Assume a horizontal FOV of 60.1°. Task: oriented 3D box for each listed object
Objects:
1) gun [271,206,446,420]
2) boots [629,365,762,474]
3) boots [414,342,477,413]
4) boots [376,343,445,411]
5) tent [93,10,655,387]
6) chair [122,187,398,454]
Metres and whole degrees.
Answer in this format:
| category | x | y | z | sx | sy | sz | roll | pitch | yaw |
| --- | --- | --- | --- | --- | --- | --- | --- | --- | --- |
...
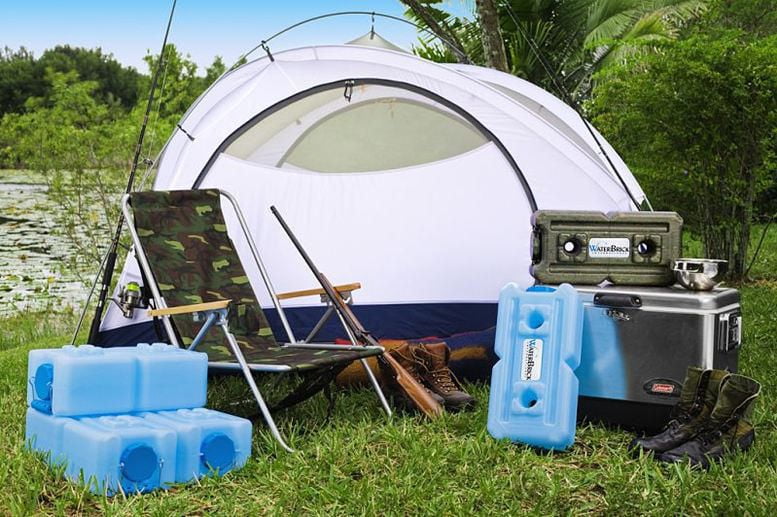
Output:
| category | x | y | z | sx | sy | sz | roll | pitch | yaw |
| --- | --- | --- | --- | --- | --- | --- | --- | --- | --- |
| gun | -0.173 | 0.377 | 4.743 | 1.061 | 1.510 | 0.883 | -4 | 1 | 5 |
| boots | 1.937 | 0.977 | 4.252 | 0.718 | 0.610 | 0.547 | 3 | 5 | -10 |
| boots | 0.371 | 0.855 | 4.849 | 0.342 | 0.501 | 0.499 | 0 | 20 | 1 |
| boots | 0.112 | 0.840 | 4.813 | 0.724 | 0.385 | 0.683 | 3 | -2 | -39 |
| tent | -0.163 | -1.022 | 6.985 | 5.374 | 2.174 | 5.798 | 4 | 9 | 36 |
| chair | -0.755 | 0.325 | 5.285 | 2.148 | 1.613 | 1.382 | 1 | -1 | 33 |
